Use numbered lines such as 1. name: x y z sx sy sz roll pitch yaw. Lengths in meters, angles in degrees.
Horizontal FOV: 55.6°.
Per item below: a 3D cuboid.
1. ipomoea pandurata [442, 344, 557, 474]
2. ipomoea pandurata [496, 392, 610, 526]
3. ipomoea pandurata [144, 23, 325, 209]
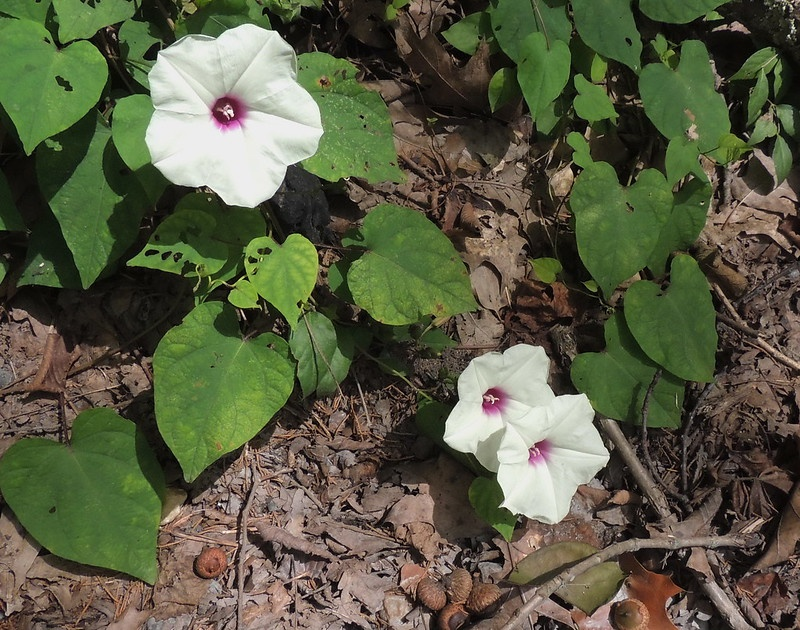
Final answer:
1. ipomoea pandurata: 0.463 0.514 3.856 0.586 0.669 0.349 -30 55 -31
2. ipomoea pandurata: 0.709 0.708 3.977 0.603 0.282 0.638 -34 99 -16
3. ipomoea pandurata: -0.730 -0.881 3.355 0.753 0.585 0.487 0 46 -8
